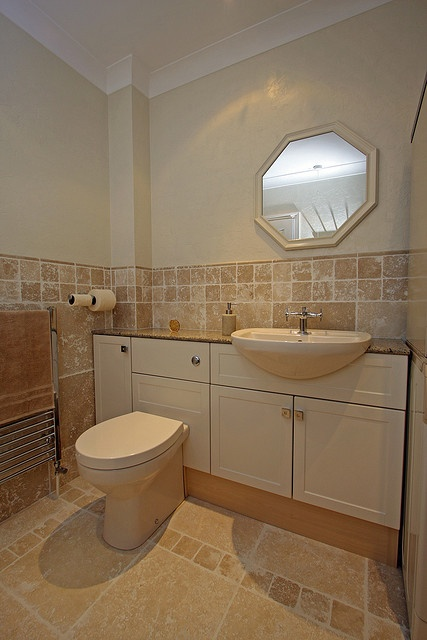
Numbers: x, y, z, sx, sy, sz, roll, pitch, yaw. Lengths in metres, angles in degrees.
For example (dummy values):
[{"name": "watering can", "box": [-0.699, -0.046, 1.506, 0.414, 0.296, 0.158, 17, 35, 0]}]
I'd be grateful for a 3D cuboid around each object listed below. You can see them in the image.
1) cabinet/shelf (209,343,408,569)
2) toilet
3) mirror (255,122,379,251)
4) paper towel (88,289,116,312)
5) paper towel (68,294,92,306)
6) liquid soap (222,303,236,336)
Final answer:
[{"name": "cabinet/shelf", "box": [0.382, 0.515, 1.615, 0.654, 0.675, 0.261, 2, 3, 33]}, {"name": "toilet", "box": [-0.323, 0.650, 1.759, 0.337, 0.453, 0.462, 7, 16, 32]}, {"name": "mirror", "box": [0.485, -0.604, 1.923, 0.553, 0.615, 0.026, -1, 0, 36]}, {"name": "paper towel", "box": [-0.578, -0.108, 2.256, 0.099, 0.126, 0.133, 27, 10, 16]}, {"name": "paper towel", "box": [-0.656, -0.097, 2.136, 0.053, 0.074, 0.131, 11, 17, 42]}, {"name": "liquid soap", "box": [0.078, -0.013, 2.097, 0.063, 0.144, 0.243, 1, 13, 6]}]
